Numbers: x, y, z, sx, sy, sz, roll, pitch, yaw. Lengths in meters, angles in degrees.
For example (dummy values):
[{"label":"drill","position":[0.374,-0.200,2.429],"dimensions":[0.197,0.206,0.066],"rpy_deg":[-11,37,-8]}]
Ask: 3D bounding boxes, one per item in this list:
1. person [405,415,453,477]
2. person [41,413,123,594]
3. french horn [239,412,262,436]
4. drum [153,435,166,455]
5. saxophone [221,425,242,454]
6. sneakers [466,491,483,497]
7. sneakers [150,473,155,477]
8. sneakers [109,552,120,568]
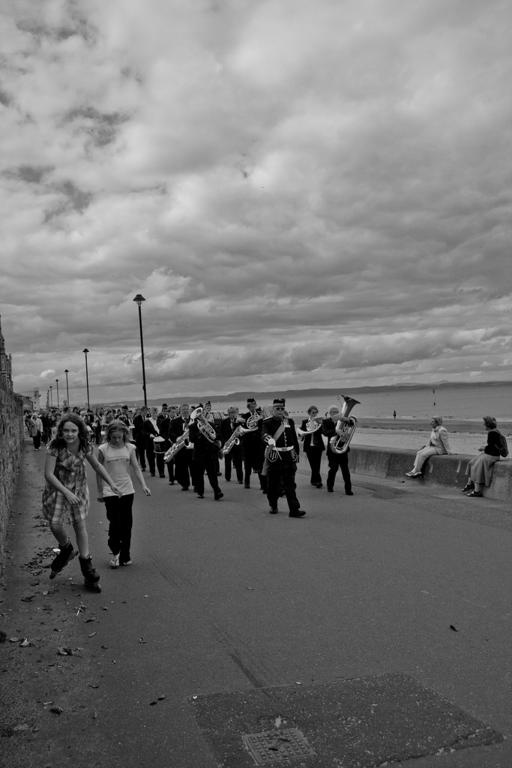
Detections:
[{"label":"person","position":[5.018,1.903,15.384],"dimensions":[1.120,1.817,1.509],"rpy_deg":[-3,-4,17]},{"label":"person","position":[-2.109,1.319,5.995],"dimensions":[0.574,1.922,0.856],"rpy_deg":[0,-4,-23]},{"label":"french horn","position":[-0.155,1.226,15.819],"dimensions":[0.389,0.793,0.437],"rpy_deg":[27,19,-9]},{"label":"drum","position":[-3.386,2.186,18.581],"dimensions":[0.528,0.614,0.553],"rpy_deg":[0,9,-1]},{"label":"saxophone","position":[-0.778,1.816,16.845],"dimensions":[0.368,0.985,0.197],"rpy_deg":[8,33,-35]},{"label":"sneakers","position":[5.258,2.658,12.662],"dimensions":[0.329,0.144,0.127],"rpy_deg":[-3,-2,19]},{"label":"sneakers","position":[-3.925,3.484,20.060],"dimensions":[0.096,0.193,0.100],"rpy_deg":[-9,-6,23]},{"label":"sneakers","position":[-1.873,2.340,6.976],"dimensions":[0.065,0.213,0.146],"rpy_deg":[3,20,7]}]
